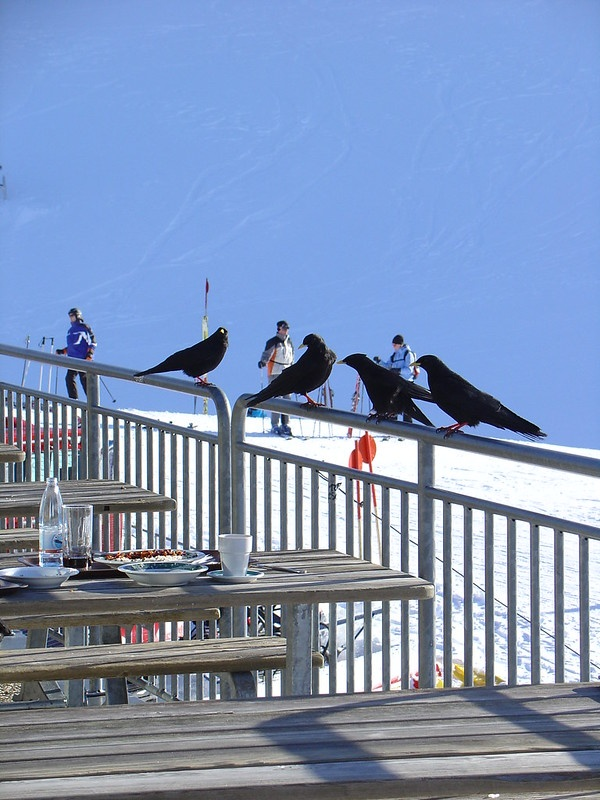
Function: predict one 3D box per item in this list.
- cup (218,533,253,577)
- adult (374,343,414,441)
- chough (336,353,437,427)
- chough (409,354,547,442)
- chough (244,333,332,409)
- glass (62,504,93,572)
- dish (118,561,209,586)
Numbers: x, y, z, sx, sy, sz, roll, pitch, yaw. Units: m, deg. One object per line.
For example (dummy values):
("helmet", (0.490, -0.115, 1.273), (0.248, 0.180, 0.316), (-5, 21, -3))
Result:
("cup", (-0.158, 0.383, 5.005), (0.077, 0.104, 0.111), (-1, -4, -2))
("adult", (0.936, -0.247, 18.900), (0.364, 0.680, 0.298), (-11, 19, -7))
("chough", (0.307, -0.028, 6.431), (0.369, 0.199, 0.116), (8, -14, -19))
("chough", (0.543, -0.011, 6.176), (0.387, 0.275, 0.132), (-1, 1, -11))
("chough", (-0.020, -0.097, 6.827), (0.361, 0.247, 0.129), (-3, -8, -3))
("glass", (-0.561, 0.349, 5.163), (0.083, 0.159, 0.086), (0, -1, 7))
("dish", (-0.327, 0.426, 4.977), (0.218, 0.059, 0.166), (0, -5, -9))
